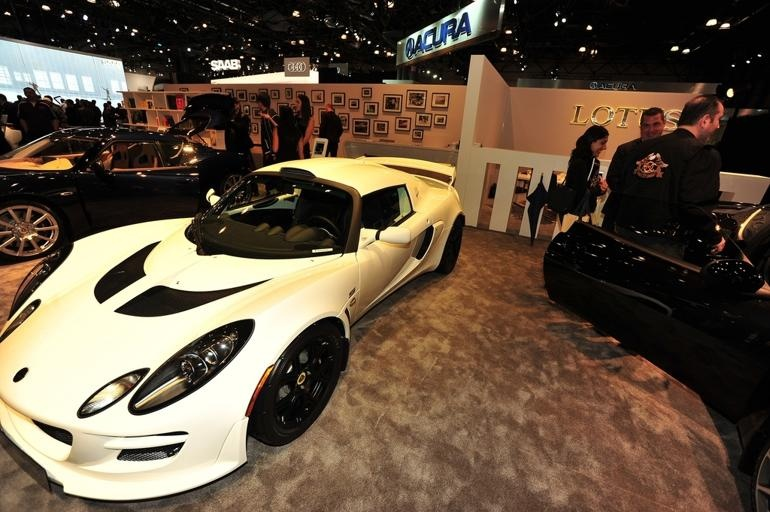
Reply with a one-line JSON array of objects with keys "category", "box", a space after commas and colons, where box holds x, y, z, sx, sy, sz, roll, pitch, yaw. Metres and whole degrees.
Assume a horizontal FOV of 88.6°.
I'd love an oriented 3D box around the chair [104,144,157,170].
[{"category": "chair", "box": [-3.504, -1.379, 5.429, 0.518, 0.371, 0.479, -5, 9, 28]}]
